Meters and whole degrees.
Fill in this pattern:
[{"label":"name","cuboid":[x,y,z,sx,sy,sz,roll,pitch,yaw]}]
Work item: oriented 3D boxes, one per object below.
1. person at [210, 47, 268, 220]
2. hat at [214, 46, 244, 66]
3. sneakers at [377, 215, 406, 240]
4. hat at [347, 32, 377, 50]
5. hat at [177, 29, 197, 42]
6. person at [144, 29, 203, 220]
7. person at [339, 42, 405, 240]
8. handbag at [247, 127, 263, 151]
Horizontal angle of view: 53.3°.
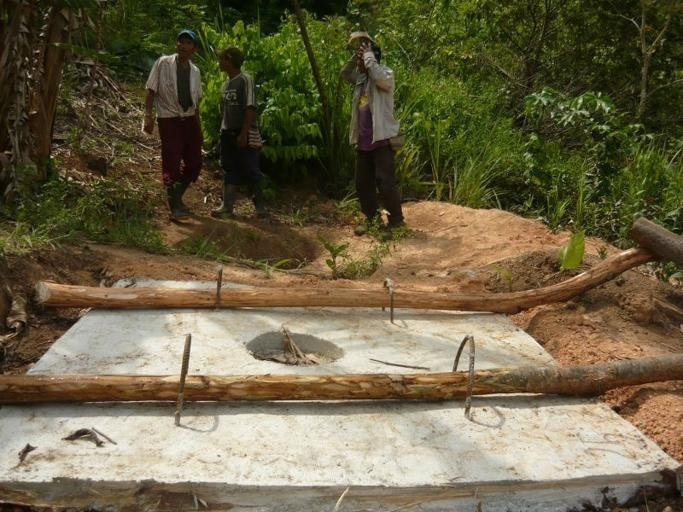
[{"label":"person","cuboid":[-1.263,-1.538,8.680,0.797,2.147,0.574,10,24,4]},{"label":"hat","cuboid":[-1.376,-2.483,8.453,0.302,0.234,0.176,2,23,-11]},{"label":"sneakers","cuboid":[0.679,-0.368,8.959,0.328,0.110,0.377,1,20,7]},{"label":"hat","cuboid":[0.250,-2.772,8.699,0.320,0.193,0.442,4,20,-7]},{"label":"hat","cuboid":[-1.768,-2.552,7.863,0.186,0.111,0.181,-2,22,-21]},{"label":"person","cuboid":[-2.028,-1.465,8.276,0.669,2.020,0.624,3,24,-11]},{"label":"person","cuboid":[0.465,-1.549,8.807,0.573,2.454,1.234,-8,28,-32]},{"label":"handbag","cuboid":[-1.078,-1.505,8.678,0.128,0.272,0.285,15,23,16]}]
